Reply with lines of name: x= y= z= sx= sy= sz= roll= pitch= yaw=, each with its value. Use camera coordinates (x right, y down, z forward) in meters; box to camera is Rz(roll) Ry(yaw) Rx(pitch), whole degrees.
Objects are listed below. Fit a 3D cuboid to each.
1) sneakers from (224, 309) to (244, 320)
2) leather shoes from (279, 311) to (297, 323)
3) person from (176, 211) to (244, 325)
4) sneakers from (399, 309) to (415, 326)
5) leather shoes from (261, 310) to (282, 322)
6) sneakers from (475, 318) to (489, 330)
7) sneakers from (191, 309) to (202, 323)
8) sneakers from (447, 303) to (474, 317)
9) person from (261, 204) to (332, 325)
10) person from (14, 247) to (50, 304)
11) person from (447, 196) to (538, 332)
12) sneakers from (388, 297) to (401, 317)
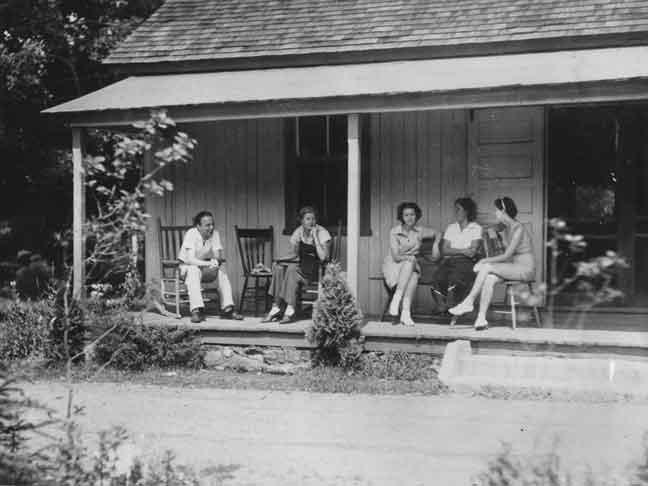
sneakers: x=-1.340 y=1.038 z=13.650 sx=0.300 sy=0.149 sz=0.124 roll=-2 pitch=0 yaw=18
leather shoes: x=-0.525 y=1.054 z=13.328 sx=0.230 sy=0.153 sz=0.320 roll=1 pitch=-1 yaw=-3
person: x=-1.760 y=0.334 z=13.949 sx=0.911 sy=1.613 sz=1.190 roll=1 pitch=-1 yaw=-24
sneakers: x=1.175 y=1.038 z=13.116 sx=0.237 sy=0.227 sz=0.211 roll=0 pitch=-1 yaw=21
leather shoes: x=-0.748 y=1.043 z=13.373 sx=0.293 sy=0.154 sz=0.120 roll=-5 pitch=0 yaw=-5
sneakers: x=2.178 y=1.112 z=12.765 sx=0.096 sy=0.126 sz=0.258 roll=-3 pitch=-8 yaw=24
sneakers: x=-1.848 y=1.060 z=13.499 sx=0.107 sy=0.146 sz=0.337 roll=0 pitch=-7 yaw=-18
sneakers: x=1.913 y=0.913 z=12.907 sx=0.320 sy=0.195 sz=0.267 roll=0 pitch=-1 yaw=14
person: x=-0.364 y=0.302 z=13.667 sx=0.944 sy=1.675 sz=1.110 roll=0 pitch=-1 yaw=7
person: x=-5.151 y=0.555 z=16.429 sx=0.610 sy=0.870 sz=0.514 roll=1 pitch=-1 yaw=-17
person: x=2.426 y=0.342 z=13.253 sx=1.213 sy=2.291 sz=0.847 roll=7 pitch=-22 yaw=-3
sneakers: x=1.012 y=0.894 z=13.177 sx=0.138 sy=0.278 sz=0.492 roll=1 pitch=-1 yaw=2
